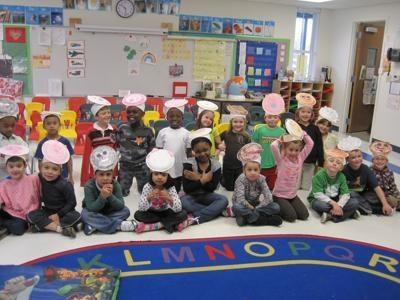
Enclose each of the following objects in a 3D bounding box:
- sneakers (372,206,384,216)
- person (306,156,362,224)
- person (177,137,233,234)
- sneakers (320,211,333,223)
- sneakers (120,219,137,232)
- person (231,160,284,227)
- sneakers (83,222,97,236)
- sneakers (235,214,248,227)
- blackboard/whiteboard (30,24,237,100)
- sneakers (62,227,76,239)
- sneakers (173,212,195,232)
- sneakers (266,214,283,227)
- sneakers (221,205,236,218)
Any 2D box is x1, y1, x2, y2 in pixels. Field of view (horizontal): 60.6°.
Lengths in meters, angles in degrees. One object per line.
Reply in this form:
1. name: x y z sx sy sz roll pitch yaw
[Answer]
1. sneakers: 2.131 0.732 4.122 0.133 0.091 0.046 1 14 -7
2. person: 1.507 0.406 4.053 0.560 0.862 0.702 -4 13 -4
3. person: 0.033 0.294 3.803 0.598 0.870 0.661 7 17 27
4. sneakers: 1.417 0.757 3.889 0.122 0.119 0.154 9 15 25
5. sneakers: -0.736 0.765 3.498 0.212 0.076 0.088 6 9 18
6. person: 0.559 0.456 3.950 0.568 0.784 0.659 -4 11 -11
7. sneakers: -1.102 0.781 3.422 0.090 0.133 0.074 -32 75 -38
8. sneakers: 0.444 0.761 3.735 0.095 0.105 0.119 13 12 31
9. blackboard/whiteboard: -1.482 -1.992 8.061 4.471 1.489 0.150 -1 14 -15
10. sneakers: -1.276 0.801 3.333 0.065 0.076 0.170 7 4 -44
11. sneakers: -0.172 0.756 3.626 0.192 0.077 0.114 -27 1 -34
12. sneakers: 0.793 0.755 3.750 0.216 0.076 0.138 4 5 9
13. sneakers: 0.310 0.701 3.868 0.127 0.121 0.094 -29 10 -19
